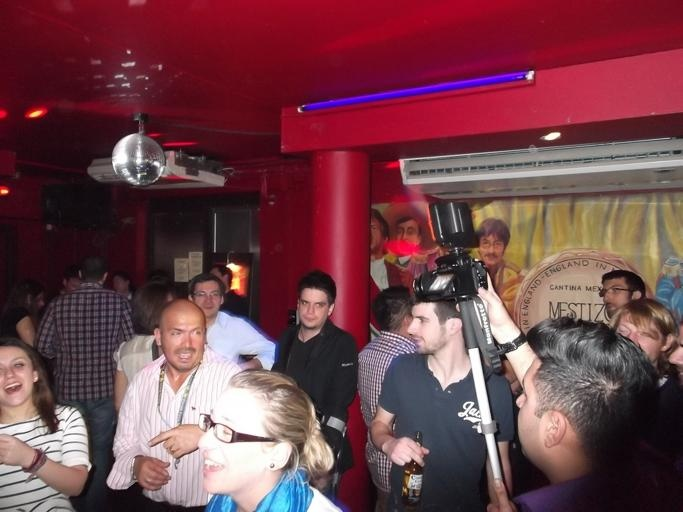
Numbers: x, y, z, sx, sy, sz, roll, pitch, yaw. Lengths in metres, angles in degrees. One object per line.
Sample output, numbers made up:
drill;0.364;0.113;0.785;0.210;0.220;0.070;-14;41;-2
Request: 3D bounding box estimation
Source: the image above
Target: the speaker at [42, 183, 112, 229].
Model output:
speaker;-3.822;-0.711;7.322;0.899;0.659;0.259;-2;2;-32
